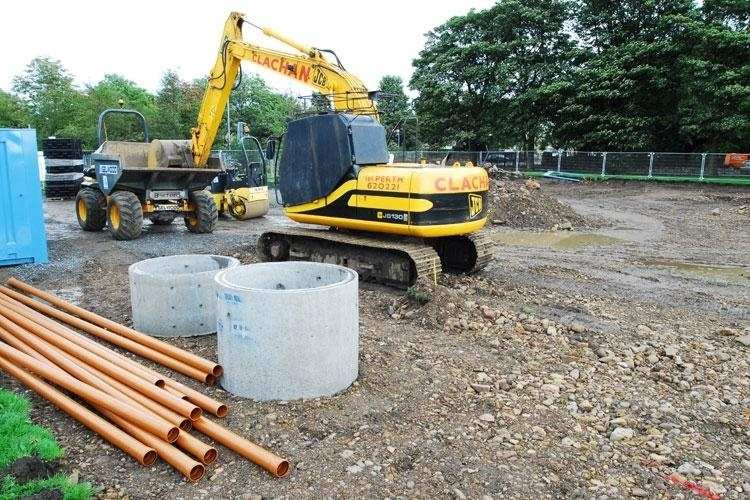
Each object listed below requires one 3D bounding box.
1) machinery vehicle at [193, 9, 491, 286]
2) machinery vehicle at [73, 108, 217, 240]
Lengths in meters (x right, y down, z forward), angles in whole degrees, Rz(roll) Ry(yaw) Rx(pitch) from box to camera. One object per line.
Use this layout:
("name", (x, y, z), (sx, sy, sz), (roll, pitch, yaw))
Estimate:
("machinery vehicle", (-1.263, -2.398, 10.388), (6.865, 4.924, 3.128), (11, 17, 26))
("machinery vehicle", (-7.029, -2.437, 14.753), (4.810, 3.604, 2.943), (10, 13, 41))
